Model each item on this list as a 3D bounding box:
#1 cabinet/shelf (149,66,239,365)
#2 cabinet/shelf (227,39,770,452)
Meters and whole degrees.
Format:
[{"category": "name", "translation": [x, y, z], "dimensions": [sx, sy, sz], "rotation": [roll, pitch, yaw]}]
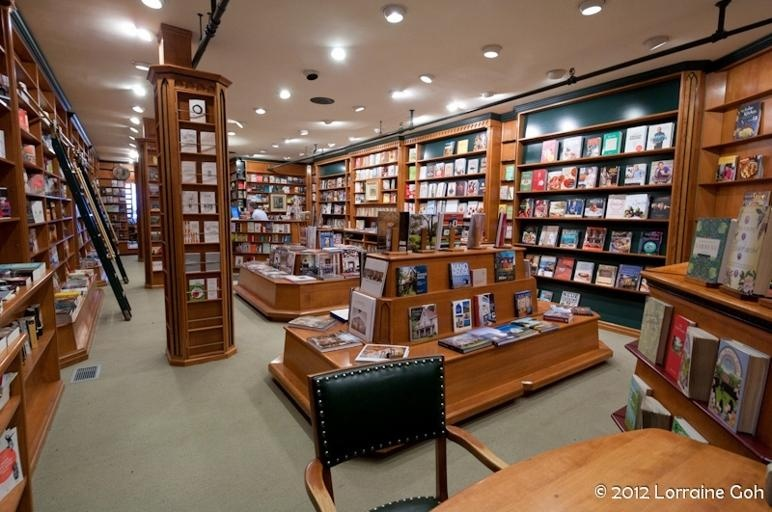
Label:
[{"category": "cabinet/shelf", "translation": [-2.189, -0.428, 5.497], "dimensions": [0.809, 3.365, 0.319], "rotation": [-3, 8, -26]}, {"category": "cabinet/shelf", "translation": [1.420, -0.315, 5.565], "dimensions": [4.164, 2.459, 4.089], "rotation": [-5, 6, -36]}]
